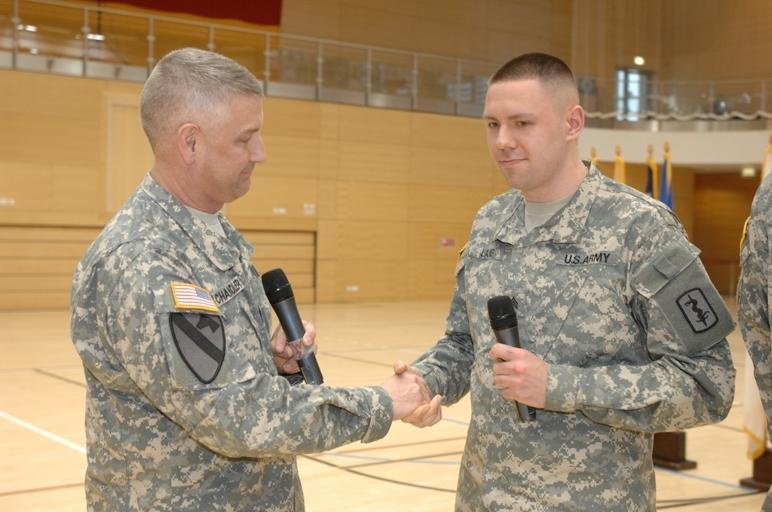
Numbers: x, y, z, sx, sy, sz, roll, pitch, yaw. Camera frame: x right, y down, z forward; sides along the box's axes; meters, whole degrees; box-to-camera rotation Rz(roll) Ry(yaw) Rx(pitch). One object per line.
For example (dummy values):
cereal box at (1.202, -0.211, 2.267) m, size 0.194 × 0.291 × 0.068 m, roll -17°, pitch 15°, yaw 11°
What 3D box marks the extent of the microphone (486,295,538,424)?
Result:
microphone at (0.523, 0.416, 2.978) m, size 0.159 × 0.521 × 0.242 m, roll 1°, pitch 4°, yaw 28°
